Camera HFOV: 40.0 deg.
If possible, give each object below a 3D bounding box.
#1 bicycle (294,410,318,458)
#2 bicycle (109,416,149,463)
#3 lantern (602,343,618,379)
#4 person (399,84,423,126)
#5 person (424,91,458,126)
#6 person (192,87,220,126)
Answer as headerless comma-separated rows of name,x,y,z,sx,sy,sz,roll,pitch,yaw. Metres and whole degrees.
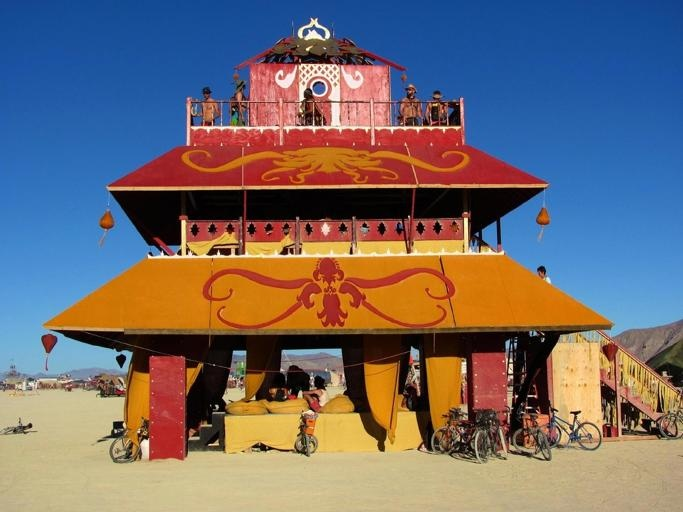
bicycle,-1.094,5.567,29.194,0.675,1.391,0.770,2,-15,-3
bicycle,-6.426,5.834,28.615,0.942,1.707,0.804,14,-20,-4
lantern,9.114,3.522,31.561,0.756,1.342,0.482,15,-20,-42
person,2.522,-5.458,34.522,0.797,1.836,1.433,0,-15,1
person,3.655,-5.167,33.867,1.190,1.146,1.141,0,-15,2
person,-4.913,-5.236,34.097,0.975,1.822,0.536,-5,-16,7
